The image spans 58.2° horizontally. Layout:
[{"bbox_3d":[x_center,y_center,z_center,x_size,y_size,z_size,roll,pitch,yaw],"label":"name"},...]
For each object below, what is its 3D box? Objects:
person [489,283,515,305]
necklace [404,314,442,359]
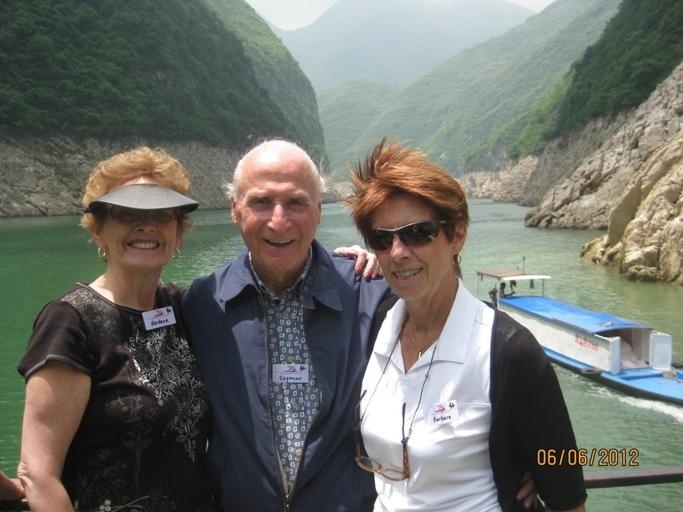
[{"bbox_3d":[5.732,1.381,21.971,0.656,0.483,1.166,1,-13,14],"label":"person"},{"bbox_3d":[0.559,0.616,4.395,0.235,0.244,0.311,-7,-14,17],"label":"necklace"}]
